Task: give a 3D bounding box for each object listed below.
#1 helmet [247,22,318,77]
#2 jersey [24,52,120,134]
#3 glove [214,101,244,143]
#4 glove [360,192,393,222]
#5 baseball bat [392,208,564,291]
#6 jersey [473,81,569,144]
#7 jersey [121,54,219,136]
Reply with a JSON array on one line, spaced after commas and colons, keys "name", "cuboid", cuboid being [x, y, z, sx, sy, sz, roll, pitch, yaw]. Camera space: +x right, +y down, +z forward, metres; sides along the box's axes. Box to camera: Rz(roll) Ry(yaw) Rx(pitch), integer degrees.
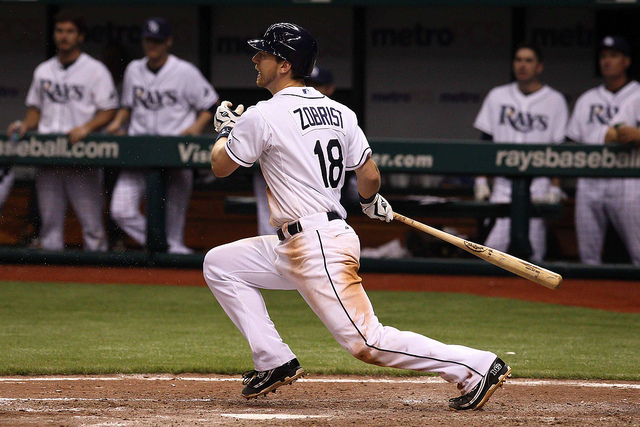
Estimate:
[{"name": "helmet", "cuboid": [-0.272, -1.188, 7.374, 0.542, 0.295, 0.365, 14, 14, -9]}, {"name": "jersey", "cuboid": [-2.433, -1.138, 10.330, 1.074, 0.797, 0.411, 5, 10, 18]}, {"name": "glove", "cuboid": [-0.651, -0.628, 7.447, 0.198, 0.097, 0.295, -28, 35, 24]}, {"name": "glove", "cuboid": [0.396, -0.022, 7.602, 0.105, 0.215, 0.166, 21, 63, 45]}, {"name": "baseball bat", "cuboid": [1.527, 0.373, 10.219, 1.487, 0.185, 0.125, 26, 46, 12]}, {"name": "jersey", "cuboid": [1.940, -0.951, 10.041, 0.595, 0.415, 0.190, 7, 32, 13]}, {"name": "jersey", "cuboid": [-1.527, -1.107, 10.542, 1.149, 0.905, 0.393, 4, 20, 15]}]
